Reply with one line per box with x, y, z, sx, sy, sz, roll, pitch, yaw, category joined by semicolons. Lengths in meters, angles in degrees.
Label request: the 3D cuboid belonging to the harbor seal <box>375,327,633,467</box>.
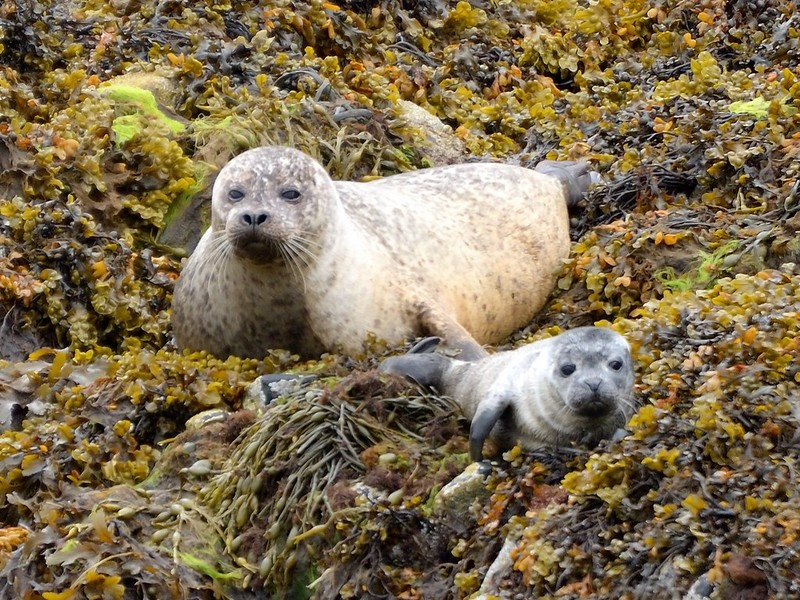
0.566;0.357;5.794;0.645;0.380;1.066;-2;11;-23;harbor seal
